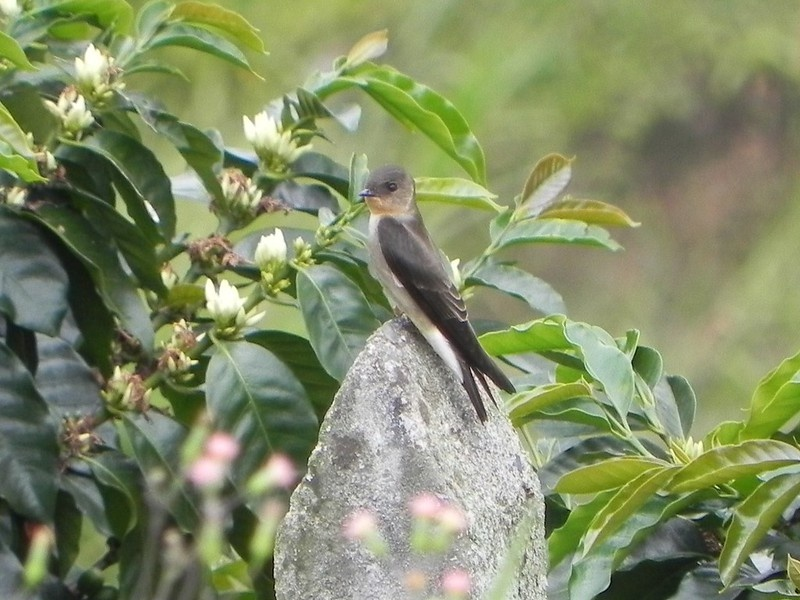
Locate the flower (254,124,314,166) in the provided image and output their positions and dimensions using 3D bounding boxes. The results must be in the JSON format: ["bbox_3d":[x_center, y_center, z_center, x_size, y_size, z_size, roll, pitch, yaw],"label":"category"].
[{"bbox_3d":[-0.266,-0.370,2.952,0.099,0.050,0.095,-14,35,-37],"label":"flower"}]

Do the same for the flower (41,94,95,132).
[{"bbox_3d":[-0.696,-0.397,2.694,0.088,0.075,0.051,-2,-7,-3],"label":"flower"}]

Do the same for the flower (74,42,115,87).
[{"bbox_3d":[-0.648,-0.495,2.752,0.084,0.096,0.049,-20,5,-24],"label":"flower"}]

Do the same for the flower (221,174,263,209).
[{"bbox_3d":[-0.358,-0.250,2.898,0.098,0.061,0.077,10,-6,-13],"label":"flower"}]
